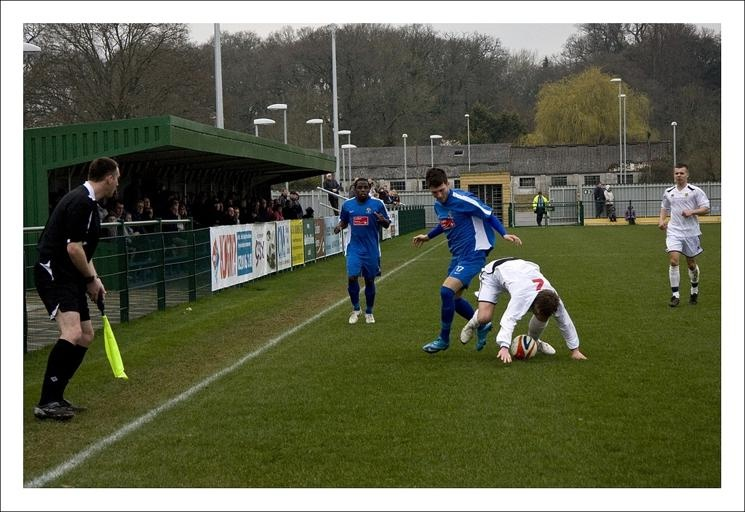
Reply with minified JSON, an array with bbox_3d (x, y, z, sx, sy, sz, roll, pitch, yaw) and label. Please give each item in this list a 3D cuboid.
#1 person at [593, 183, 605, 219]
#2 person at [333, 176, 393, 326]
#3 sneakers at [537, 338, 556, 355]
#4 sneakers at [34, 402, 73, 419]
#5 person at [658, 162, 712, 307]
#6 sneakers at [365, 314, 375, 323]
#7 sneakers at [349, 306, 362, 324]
[{"bbox_3d":[14.812,-3.463,49.582,0.659,2.152,1.561,1,9,17],"label":"person"},{"bbox_3d":[-0.177,-0.081,13.607,0.879,2.518,1.194,-2,9,-2],"label":"person"},{"bbox_3d":[2.435,1.309,10.735,0.311,0.173,0.127,25,-19,-3],"label":"sneakers"},{"bbox_3d":[-3.712,1.807,8.964,0.501,0.243,0.189,1,0,2],"label":"sneakers"},{"bbox_3d":[5.824,-0.394,14.242,0.801,2.592,1.349,2,9,21],"label":"person"},{"bbox_3d":[-0.058,1.123,13.359,0.134,0.159,0.352,0,-2,-3],"label":"sneakers"},{"bbox_3d":[-0.336,1.095,13.409,0.111,0.152,0.326,1,12,12],"label":"sneakers"}]
